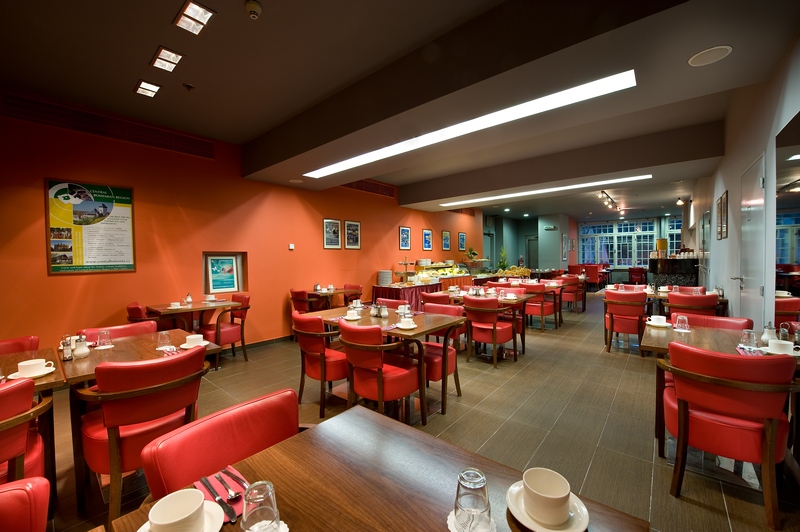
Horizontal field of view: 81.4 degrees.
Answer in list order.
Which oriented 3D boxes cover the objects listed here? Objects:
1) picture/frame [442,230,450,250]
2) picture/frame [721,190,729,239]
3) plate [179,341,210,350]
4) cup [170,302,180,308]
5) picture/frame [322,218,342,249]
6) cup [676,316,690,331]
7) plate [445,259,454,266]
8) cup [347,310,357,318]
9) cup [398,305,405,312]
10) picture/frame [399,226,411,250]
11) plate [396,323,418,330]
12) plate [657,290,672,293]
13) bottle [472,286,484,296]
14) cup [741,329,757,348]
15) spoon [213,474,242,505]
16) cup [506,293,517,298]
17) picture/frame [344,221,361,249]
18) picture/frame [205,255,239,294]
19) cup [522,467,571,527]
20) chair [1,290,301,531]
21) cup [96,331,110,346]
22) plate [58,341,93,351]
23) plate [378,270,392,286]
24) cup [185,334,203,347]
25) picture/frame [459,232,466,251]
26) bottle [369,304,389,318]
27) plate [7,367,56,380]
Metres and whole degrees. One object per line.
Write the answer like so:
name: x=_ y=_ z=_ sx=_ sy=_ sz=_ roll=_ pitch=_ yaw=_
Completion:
picture/frame: x=1.178 y=-0.686 z=12.090 sx=0.039 sy=0.591 sz=0.518 roll=-2 pitch=-1 yaw=32
picture/frame: x=4.595 y=-0.723 z=6.597 sx=0.028 sy=0.703 sz=0.690 roll=1 pitch=-2 yaw=25
plate: x=-2.050 y=0.785 z=4.636 sx=0.194 sy=0.028 sz=0.193 roll=-1 pitch=8 yaw=-27
cup: x=-3.126 y=0.549 z=6.488 sx=0.126 sy=0.047 sz=0.099 roll=-2 pitch=6 yaw=-35
picture/frame: x=-1.308 y=-0.622 z=8.842 sx=0.044 sy=0.645 sz=0.576 roll=-4 pitch=-4 yaw=34
cup: x=3.003 y=0.609 z=4.981 sx=0.129 sy=0.148 sz=0.151 roll=-5 pitch=0 yaw=16
plate: x=1.165 y=-0.076 z=11.223 sx=0.183 sy=0.143 sz=0.189 roll=0 pitch=2 yaw=43
cup: x=-0.567 y=0.575 z=5.567 sx=0.081 sy=0.051 sz=0.083 roll=0 pitch=-4 yaw=0
cup: x=0.015 y=0.537 z=5.721 sx=0.051 sy=0.066 sz=0.093 roll=-6 pitch=8 yaw=-36
picture/frame: x=0.103 y=-0.643 z=10.637 sx=0.039 sy=0.608 sz=0.544 roll=-2 pitch=-2 yaw=32
plate: x=0.062 y=0.659 z=5.089 sx=0.231 sy=0.052 sz=0.165 roll=-1 pitch=1 yaw=7
plate: x=4.223 y=0.400 z=7.474 sx=0.120 sy=0.046 sz=0.124 roll=-2 pitch=-3 yaw=5
bottle: x=1.249 y=0.397 z=7.546 sx=0.153 sy=0.152 sz=0.159 roll=2 pitch=1 yaw=18
cup: x=3.425 y=0.715 z=4.518 sx=0.127 sy=0.178 sz=0.183 roll=-4 pitch=-8 yaw=17
spoon: x=-1.235 y=1.579 z=3.344 sx=0.089 sy=0.057 sz=0.320 roll=-18 pitch=37 yaw=-32
cup: x=1.696 y=0.446 z=7.104 sx=0.082 sy=0.077 sz=0.147 roll=1 pitch=-2 yaw=13
picture/frame: x=-0.958 y=-0.628 z=9.249 sx=0.027 sy=0.629 sz=0.545 roll=-4 pitch=-4 yaw=32
picture/frame: x=-2.880 y=0.136 z=7.475 sx=0.048 sy=0.734 sz=0.614 roll=-4 pitch=-3 yaw=42
cup: x=1.006 y=1.601 z=3.213 sx=0.344 sy=0.241 sz=0.382 roll=-1 pitch=-4 yaw=19
chair: x=-1.989 y=1.490 z=4.135 sx=1.890 sy=2.156 sz=1.886 roll=6 pitch=8 yaw=44
cup: x=-2.939 y=0.719 z=4.657 sx=0.134 sy=0.148 sz=0.133 roll=1 pitch=3 yaw=0
plate: x=-3.154 y=0.765 z=4.522 sx=0.198 sy=0.062 sz=0.204 roll=-2 pitch=-3 yaw=36
plate: x=-0.315 y=0.257 z=9.695 sx=0.282 sy=0.310 sz=0.283 roll=0 pitch=0 yaw=-20
cup: x=-2.085 y=0.749 z=4.725 sx=0.132 sy=0.094 sz=0.124 roll=1 pitch=6 yaw=0
picture/frame: x=1.694 y=-0.684 z=12.799 sx=0.047 sy=0.498 sz=0.507 roll=-2 pitch=-1 yaw=29
bottle: x=-0.266 y=0.552 z=5.704 sx=0.106 sy=0.128 sz=0.277 roll=3 pitch=-8 yaw=-35
plate: x=-3.242 y=0.956 z=4.109 sx=0.169 sy=0.024 sz=0.172 roll=4 pitch=5 yaw=-5
